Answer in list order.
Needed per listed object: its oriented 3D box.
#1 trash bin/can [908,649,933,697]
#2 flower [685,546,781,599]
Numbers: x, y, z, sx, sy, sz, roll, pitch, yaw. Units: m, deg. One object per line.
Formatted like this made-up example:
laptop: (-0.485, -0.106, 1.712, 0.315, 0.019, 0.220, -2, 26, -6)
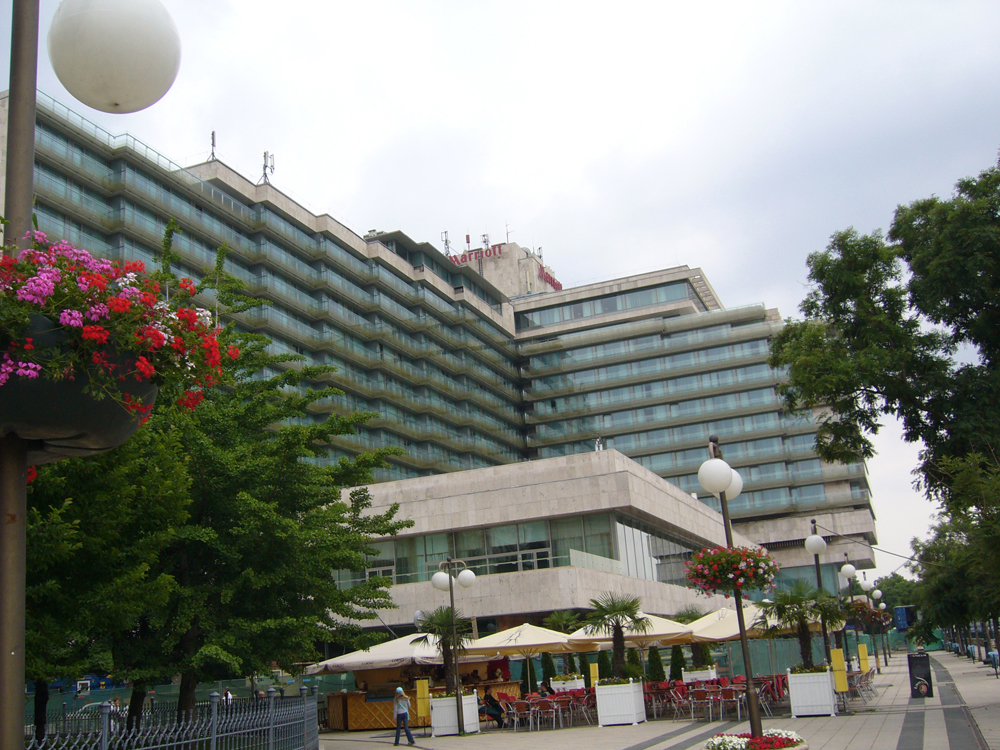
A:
trash bin/can: (12.833, 8.960, 32.523, 0.670, 1.293, 0.907, -11, -23, 16)
flower: (4.165, 3.569, 19.668, 1.161, 0.679, 1.143, 11, -20, -38)
